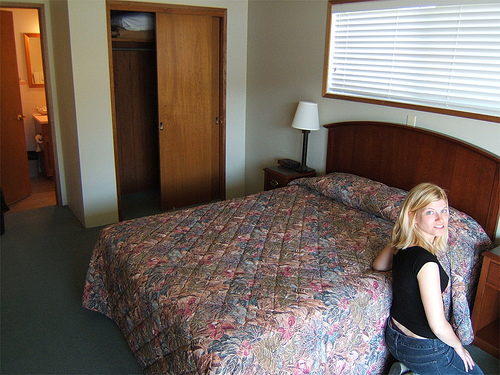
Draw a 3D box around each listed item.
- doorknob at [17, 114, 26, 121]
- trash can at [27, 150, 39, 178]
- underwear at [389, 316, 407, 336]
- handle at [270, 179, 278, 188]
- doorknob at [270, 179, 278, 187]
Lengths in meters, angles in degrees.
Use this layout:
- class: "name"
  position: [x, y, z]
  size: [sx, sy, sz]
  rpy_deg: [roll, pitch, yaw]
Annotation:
- class: "doorknob"
  position: [-3.246, -1.008, 5.161]
  size: [0.066, 0.072, 0.200]
  rpy_deg: [-6, 20, -16]
- class: "trash can"
  position: [-3.779, -0.408, 6.350]
  size: [0.184, 0.412, 0.274]
  rpy_deg: [-12, 22, -29]
- class: "underwear"
  position: [0.961, 0.915, 2.388]
  size: [0.026, 0.047, 0.151]
  rpy_deg: [-7, 20, -19]
- class: "handle"
  position: [0.294, -0.051, 4.476]
  size: [0.023, 0.078, 0.075]
  rpy_deg: [6, 7, -43]
- class: "doorknob"
  position: [0.296, -0.053, 4.473]
  size: [0.075, 0.078, 0.022]
  rpy_deg: [1, -9, 37]
